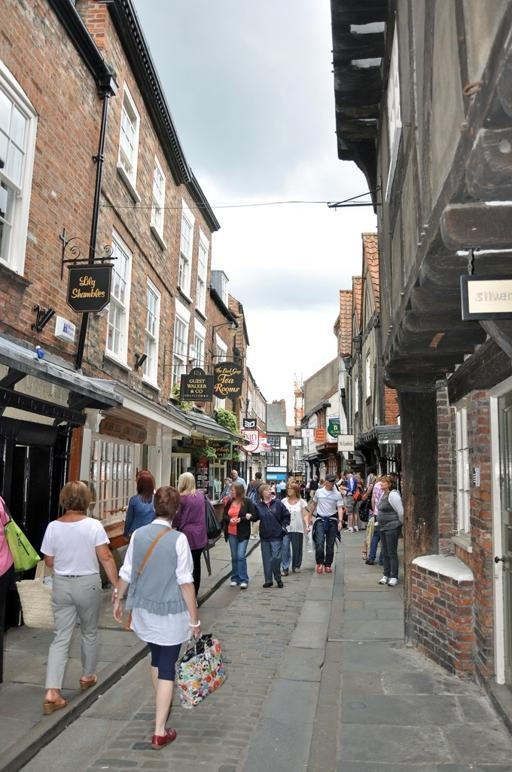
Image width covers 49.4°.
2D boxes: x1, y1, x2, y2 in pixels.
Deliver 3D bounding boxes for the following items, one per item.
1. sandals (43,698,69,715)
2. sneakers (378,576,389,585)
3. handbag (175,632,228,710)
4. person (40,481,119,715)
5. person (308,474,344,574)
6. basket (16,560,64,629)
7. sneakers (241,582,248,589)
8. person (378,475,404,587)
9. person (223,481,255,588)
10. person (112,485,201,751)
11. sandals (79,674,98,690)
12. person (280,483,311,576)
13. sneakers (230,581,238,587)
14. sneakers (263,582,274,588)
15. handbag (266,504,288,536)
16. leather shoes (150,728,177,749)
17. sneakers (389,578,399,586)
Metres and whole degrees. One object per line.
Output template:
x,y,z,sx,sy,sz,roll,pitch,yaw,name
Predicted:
-1.300,2.087,3.656,0.057,0.083,0.180,0,-6,15,sandals
2.055,3.144,8.974,0.113,0.125,0.275,-4,-24,8,sneakers
-0.330,1.694,3.377,0.111,0.385,0.335,-9,-1,40,handbag
-1.269,1.449,3.996,0.509,1.501,0.535,5,-10,-26,person
1.264,2.506,10.024,0.588,1.722,0.882,-1,-10,6,person
-1.747,1.698,4.513,0.275,0.559,0.384,0,-28,-15,basket
-0.182,3.156,8.777,0.102,0.096,0.163,2,-11,-10,sneakers
2.110,2.290,8.811,0.380,1.705,0.874,-2,-10,12,person
-0.265,2.435,9.122,0.535,1.644,0.855,1,-10,-4,person
-0.603,1.399,3.464,0.559,1.515,0.272,-4,-10,23,person
-1.232,2.214,4.156,0.052,0.067,0.144,1,-10,4,sandals
0.636,2.606,10.141,0.591,1.637,0.516,0,1,-14,person
-0.337,3.176,8.913,0.105,0.079,0.089,2,-10,-13,sneakers
0.187,3.185,8.902,0.056,0.083,0.183,-6,-23,19,sneakers
0.365,2.194,9.135,0.143,0.463,0.311,-19,-11,27,handbag
-0.546,2.085,3.333,0.062,0.083,0.186,-1,-7,18,leather shoes
2.142,3.086,8.747,0.139,0.117,0.197,-2,-11,13,sneakers
